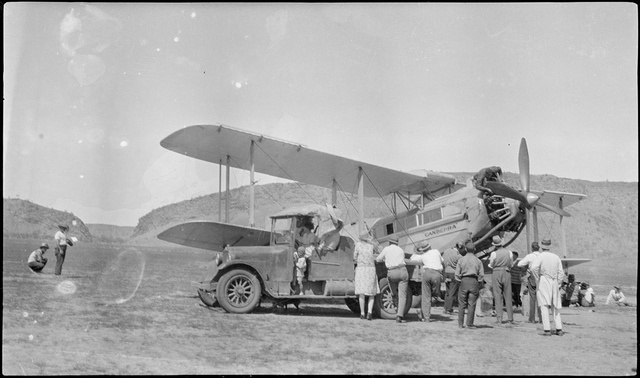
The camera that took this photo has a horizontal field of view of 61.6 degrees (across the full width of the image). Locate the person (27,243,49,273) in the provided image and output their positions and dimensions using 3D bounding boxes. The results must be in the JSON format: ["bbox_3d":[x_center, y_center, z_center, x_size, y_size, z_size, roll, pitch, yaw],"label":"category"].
[{"bbox_3d":[-10.301,2.536,19.712,0.568,1.076,0.896,10,-15,-27],"label":"person"}]

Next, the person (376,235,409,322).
[{"bbox_3d":[2.328,2.862,16.877,0.843,2.594,1.058,-5,-16,30],"label":"person"}]

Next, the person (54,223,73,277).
[{"bbox_3d":[-9.385,2.218,19.689,0.581,1.921,0.883,9,-15,-23],"label":"person"}]

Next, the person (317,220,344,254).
[{"bbox_3d":[0.290,1.526,17.057,1.093,1.150,0.631,-1,9,-3],"label":"person"}]

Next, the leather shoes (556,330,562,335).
[{"bbox_3d":[7.049,4.241,15.843,0.257,0.146,0.091,7,-14,-18],"label":"leather shoes"}]

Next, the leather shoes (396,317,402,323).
[{"bbox_3d":[2.440,4.061,16.664,0.207,0.139,0.135,-1,8,0],"label":"leather shoes"}]

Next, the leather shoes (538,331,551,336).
[{"bbox_3d":[6.591,4.256,15.877,0.356,0.134,0.254,-7,-16,36],"label":"leather shoes"}]

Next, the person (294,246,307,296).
[{"bbox_3d":[-0.578,2.545,16.825,0.322,1.457,0.447,-4,-15,28],"label":"person"}]

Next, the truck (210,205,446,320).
[{"bbox_3d":[-0.148,2.367,17.799,6.984,2.998,2.378,5,-3,-22],"label":"truck"}]

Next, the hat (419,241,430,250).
[{"bbox_3d":[3.390,1.874,17.627,0.295,0.109,0.285,-19,7,-4],"label":"hat"}]

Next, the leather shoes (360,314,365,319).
[{"bbox_3d":[1.338,3.999,16.823,0.203,0.126,0.071,-2,1,-5],"label":"leather shoes"}]

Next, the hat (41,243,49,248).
[{"bbox_3d":[-10.050,2.086,19.593,0.264,0.100,0.270,0,-1,28],"label":"hat"}]

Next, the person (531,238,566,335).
[{"bbox_3d":[6.771,3.086,15.945,0.868,2.416,0.667,11,-16,-30],"label":"person"}]

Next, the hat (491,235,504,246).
[{"bbox_3d":[5.827,1.722,17.762,0.371,0.149,0.402,-18,12,6],"label":"hat"}]

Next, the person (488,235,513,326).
[{"bbox_3d":[5.895,2.931,17.592,0.721,2.864,0.905,-2,-14,19],"label":"person"}]

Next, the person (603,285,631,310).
[{"bbox_3d":[12.951,4.791,23.610,1.476,0.968,0.876,-1,-1,8],"label":"person"}]

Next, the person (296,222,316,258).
[{"bbox_3d":[-0.447,1.627,17.107,0.772,0.920,0.344,0,-7,-23],"label":"person"}]
